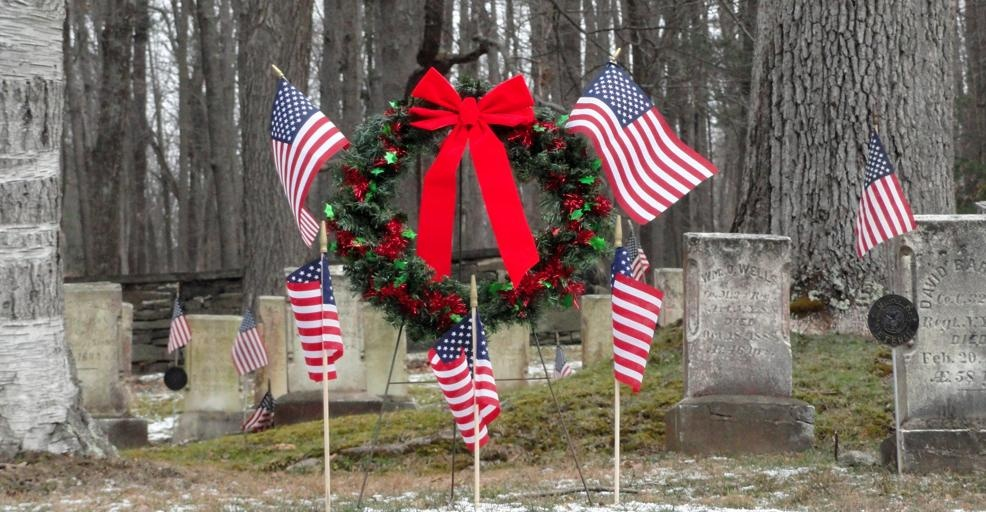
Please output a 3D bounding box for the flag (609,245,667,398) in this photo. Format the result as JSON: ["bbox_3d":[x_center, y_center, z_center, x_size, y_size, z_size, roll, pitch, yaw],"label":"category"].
[{"bbox_3d":[3.571,1.612,58.490,1.103,3.656,0.295,-2,-3,3],"label":"flag"}]

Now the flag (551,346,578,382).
[{"bbox_3d":[1.862,2.942,64.339,0.558,1.005,0.715,-10,25,-3],"label":"flag"}]

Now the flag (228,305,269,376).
[{"bbox_3d":[-6.724,2.391,62.849,0.949,1.693,0.856,-2,-3,-6],"label":"flag"}]

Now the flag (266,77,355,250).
[{"bbox_3d":[-4.894,-2.525,58.957,1.742,4.558,1.018,-3,-3,12],"label":"flag"}]

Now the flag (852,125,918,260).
[{"bbox_3d":[10.114,-1.677,60.173,0.992,3.269,2.066,0,-3,-27],"label":"flag"}]

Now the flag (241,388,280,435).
[{"bbox_3d":[-6.395,4.361,62.922,1.288,1.210,0.172,0,-4,6],"label":"flag"}]

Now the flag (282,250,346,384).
[{"bbox_3d":[-4.619,1.594,58.904,1.311,3.429,1.490,1,-1,0],"label":"flag"}]
